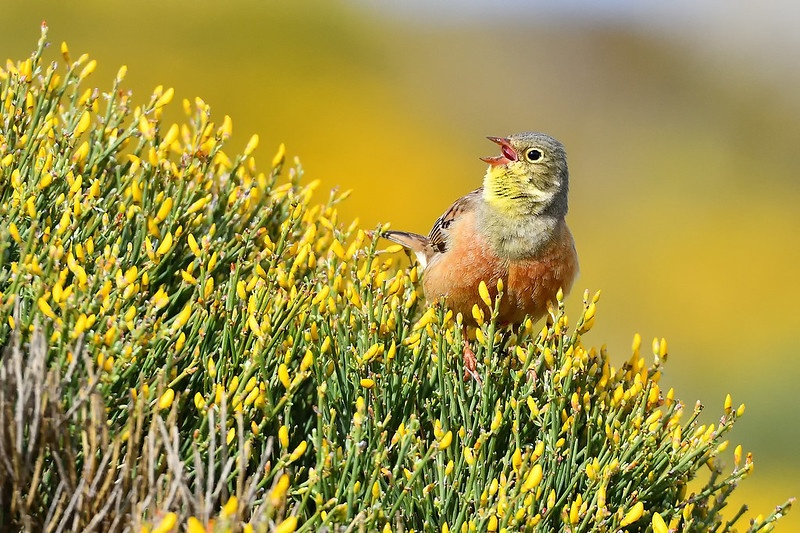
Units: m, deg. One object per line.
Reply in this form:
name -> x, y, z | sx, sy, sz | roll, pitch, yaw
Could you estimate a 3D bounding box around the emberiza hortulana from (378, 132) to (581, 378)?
emberiza hortulana -> 0.648, -0.227, 7.955 | 1.135, 1.394, 2.136 | -9, -78, -24
